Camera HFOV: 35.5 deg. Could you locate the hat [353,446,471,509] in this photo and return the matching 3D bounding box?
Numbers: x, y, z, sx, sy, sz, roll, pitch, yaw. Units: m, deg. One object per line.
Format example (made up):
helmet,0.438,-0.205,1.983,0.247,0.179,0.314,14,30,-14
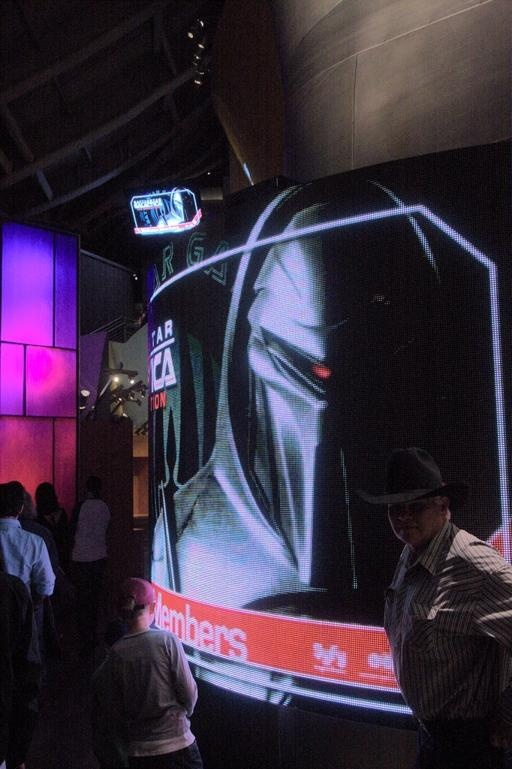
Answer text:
hat,0.477,0.292,2.437,0.177,0.132,0.236,-5,-14,28
